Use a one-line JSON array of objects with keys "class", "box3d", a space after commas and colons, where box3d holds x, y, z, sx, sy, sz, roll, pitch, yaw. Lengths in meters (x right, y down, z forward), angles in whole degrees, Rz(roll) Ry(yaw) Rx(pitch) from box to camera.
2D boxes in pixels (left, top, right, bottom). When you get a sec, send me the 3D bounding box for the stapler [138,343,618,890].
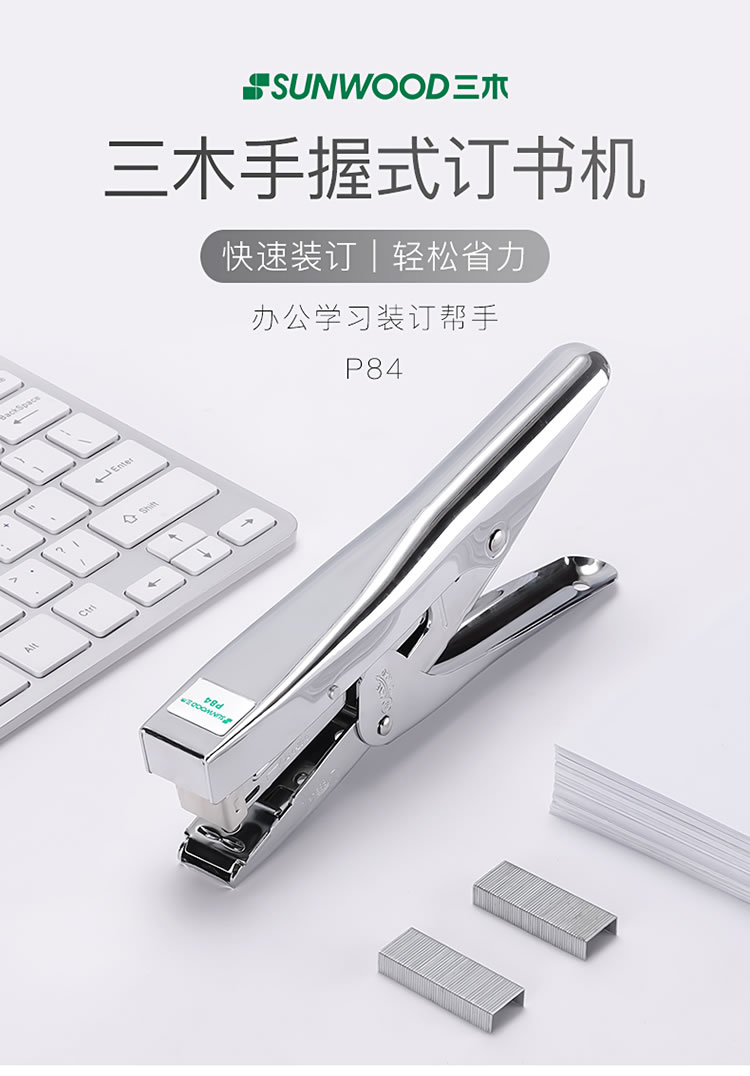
[{"class": "stapler", "box3d": [0.002, 0.029, 0.366, 0.044, 0.249, 0.106, 28, -42, 28]}]
